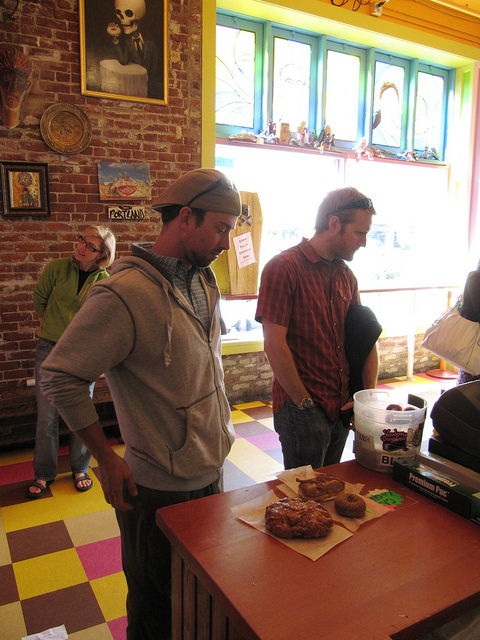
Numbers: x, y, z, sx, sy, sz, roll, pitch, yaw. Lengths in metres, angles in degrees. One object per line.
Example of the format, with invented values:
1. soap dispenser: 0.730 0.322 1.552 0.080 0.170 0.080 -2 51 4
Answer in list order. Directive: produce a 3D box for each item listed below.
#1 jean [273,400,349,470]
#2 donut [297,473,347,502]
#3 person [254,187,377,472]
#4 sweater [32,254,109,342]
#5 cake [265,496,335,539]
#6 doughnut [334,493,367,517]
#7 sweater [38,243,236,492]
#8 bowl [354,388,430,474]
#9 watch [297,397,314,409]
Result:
1. jean: 0.273 0.448 1.874 0.291 0.309 0.179 4 9 6
2. donut: 0.203 0.416 1.222 0.093 0.033 0.057 -2 5 -36
3. person: 0.273 0.038 1.869 0.432 1.087 0.295 1 9 -9
4. sweater: -1.020 -0.124 2.946 0.433 0.549 0.228 22 -14 -27
5. cake: 0.132 0.439 1.069 0.097 0.034 0.074 3 1 -4
6. doughnut: 0.263 0.441 1.149 0.078 0.038 0.069 4 9 11
7. sweater: -0.257 0.145 1.308 0.542 0.685 0.250 -3 10 -30
8. bowl: 0.434 0.317 1.455 0.228 0.230 0.225 1 13 0
9. watch: 0.242 0.308 1.775 0.064 0.043 0.018 -1 10 -21
